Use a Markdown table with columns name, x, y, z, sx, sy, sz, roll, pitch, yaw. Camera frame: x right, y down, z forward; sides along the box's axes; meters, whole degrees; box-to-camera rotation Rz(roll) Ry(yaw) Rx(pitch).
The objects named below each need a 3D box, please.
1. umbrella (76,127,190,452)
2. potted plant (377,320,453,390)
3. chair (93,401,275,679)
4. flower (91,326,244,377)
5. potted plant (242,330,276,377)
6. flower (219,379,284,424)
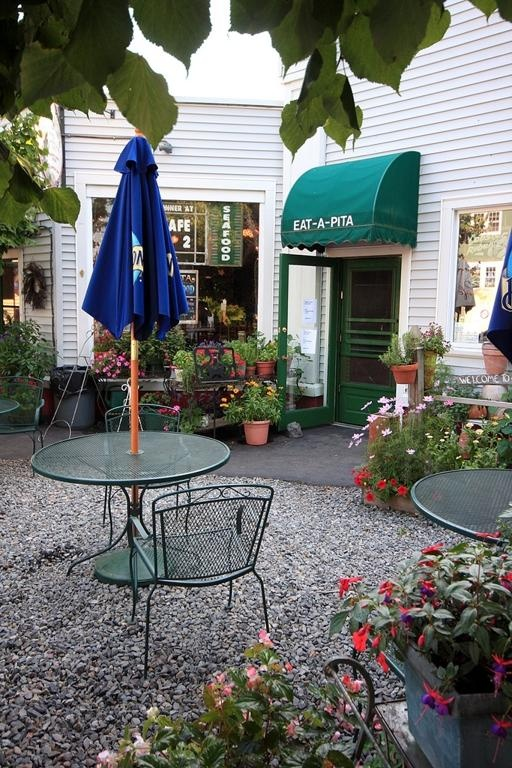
| name | x | y | z | sx | sy | sz | roll | pitch | yaw |
| --- | --- | --- | --- | --- | --- | --- | --- | --- | --- |
| umbrella | -0.678 | -0.506 | 3.419 | 0.618 | 1.806 | 0.412 | -2 | 6 | -23 |
| potted plant | 1.524 | -0.129 | 5.709 | 0.654 | 0.894 | 0.883 | 0 | 8 | 9 |
| chair | -0.382 | 0.779 | 3.074 | 0.725 | 0.939 | 0.999 | 0 | 8 | -19 |
| flower | -1.430 | -0.391 | 7.788 | 1.271 | 0.468 | 0.898 | 1 | 2 | -5 |
| potted plant | 0.059 | -0.390 | 7.912 | 0.516 | 0.658 | 0.493 | 0 | -3 | -10 |
| flower | -0.075 | 0.243 | 7.370 | 0.561 | 0.438 | 0.588 | -1 | 6 | -7 |
